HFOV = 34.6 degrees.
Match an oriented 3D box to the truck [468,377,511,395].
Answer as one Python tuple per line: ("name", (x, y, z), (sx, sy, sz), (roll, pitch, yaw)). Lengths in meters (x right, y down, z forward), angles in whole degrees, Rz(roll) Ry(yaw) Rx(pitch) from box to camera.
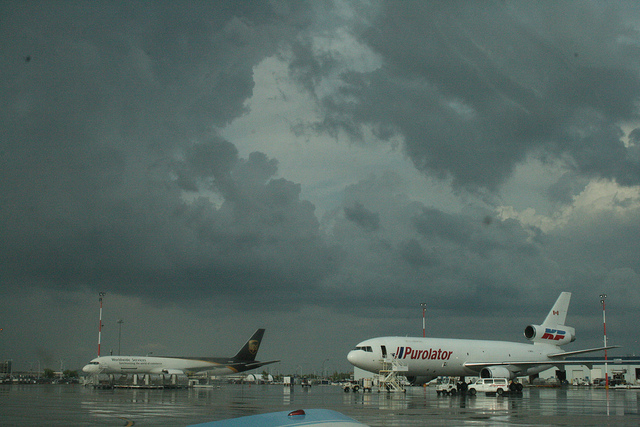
("truck", (26.374, 26.515, 159.338), (4.802, 1.952, 2.835), (1, -10, 13))

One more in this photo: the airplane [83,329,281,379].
("airplane", (-26.020, 27.028, 183.657), (28.159, 7.994, 25.011), (10, -22, -27))
